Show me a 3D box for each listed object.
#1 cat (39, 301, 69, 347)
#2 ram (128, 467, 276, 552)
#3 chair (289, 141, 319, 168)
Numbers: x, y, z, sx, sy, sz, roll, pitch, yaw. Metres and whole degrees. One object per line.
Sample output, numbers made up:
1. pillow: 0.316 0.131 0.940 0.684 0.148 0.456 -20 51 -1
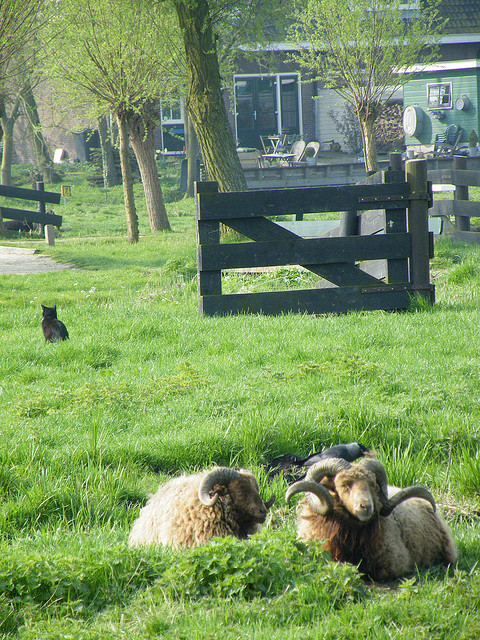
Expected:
1. cat: -2.632 0.119 20.773 0.179 0.577 0.607 5 8 -36
2. ram: -0.449 2.041 16.468 1.524 0.857 0.560 -5 7 -1
3. chair: 1.537 -3.985 35.950 0.657 0.474 2.441 -3 9 5
